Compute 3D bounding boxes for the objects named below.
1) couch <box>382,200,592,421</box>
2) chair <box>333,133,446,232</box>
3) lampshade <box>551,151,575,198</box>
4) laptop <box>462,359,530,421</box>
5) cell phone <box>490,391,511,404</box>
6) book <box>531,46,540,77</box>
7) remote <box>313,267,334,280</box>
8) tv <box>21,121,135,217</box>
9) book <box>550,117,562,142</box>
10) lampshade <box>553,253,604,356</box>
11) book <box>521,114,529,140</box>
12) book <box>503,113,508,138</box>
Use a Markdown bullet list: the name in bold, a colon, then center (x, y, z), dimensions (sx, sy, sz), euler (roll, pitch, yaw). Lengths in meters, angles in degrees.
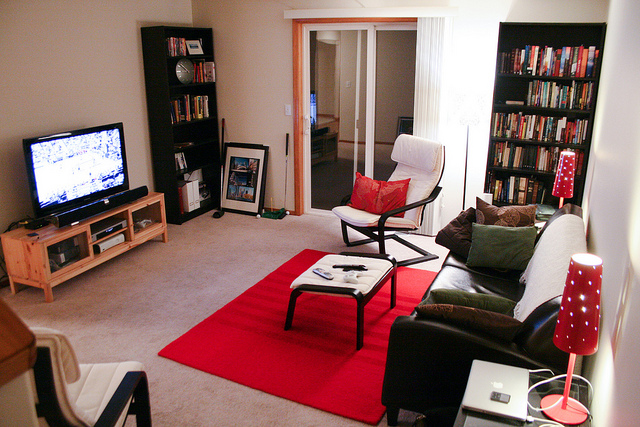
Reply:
- **couch**: center (1.239, 0.755, 3.383), dimensions (1.050, 1.163, 1.566), euler (11, 22, 27)
- **chair**: center (0.783, -0.353, 5.356), dimensions (1.317, 0.847, 0.938), euler (-15, 24, -21)
- **lampshade**: center (2.339, -0.353, 4.387), dimensions (0.166, 0.463, 0.246), euler (11, 22, 26)
- **laptop**: center (1.029, 1.024, 2.671), dimensions (0.336, 0.091, 0.394), euler (9, 21, 23)
- **cell phone**: center (1.013, 1.041, 2.595), dimensions (0.108, 0.023, 0.061), euler (7, 21, 16)
- **book**: center (2.269, -1.616, 4.845), dimensions (0.041, 0.310, 0.240), euler (6, 21, 22)
- **remote**: center (0.028, 0.530, 4.072), dimensions (0.082, 0.036, 0.149), euler (-8, 17, -35)
- **tv**: center (-2.611, -0.463, 4.864), dimensions (0.098, 0.689, 0.961), euler (10, 24, 28)
- **book**: center (2.522, -0.906, 4.931), dimensions (0.119, 0.209, 0.217), euler (5, 17, 17)
- **lampshade**: center (1.375, 0.481, 2.412), dimensions (0.198, 0.510, 0.255), euler (11, 23, 27)
- **book**: center (2.243, -0.958, 5.040), dimensions (0.034, 0.328, 0.215), euler (7, 14, 15)
- **book**: center (2.049, -0.991, 5.105), dimensions (0.028, 0.287, 0.215), euler (2, 14, 20)
